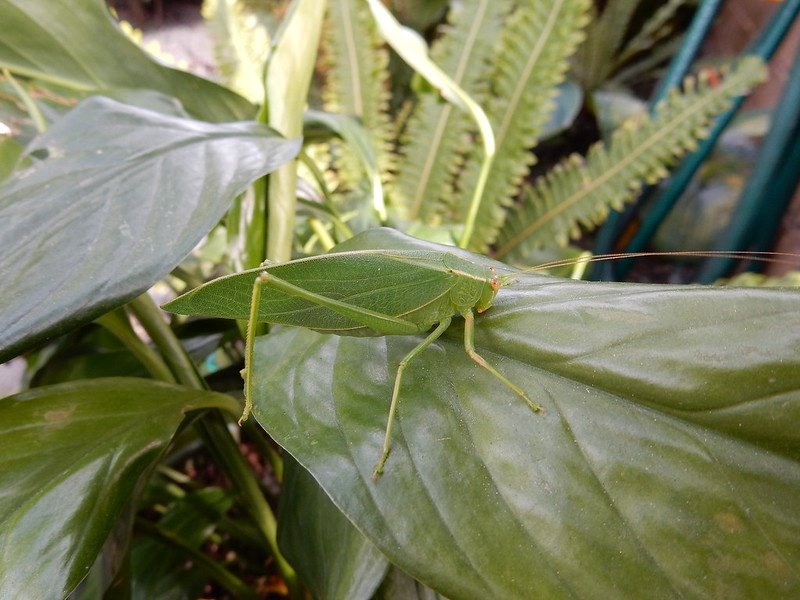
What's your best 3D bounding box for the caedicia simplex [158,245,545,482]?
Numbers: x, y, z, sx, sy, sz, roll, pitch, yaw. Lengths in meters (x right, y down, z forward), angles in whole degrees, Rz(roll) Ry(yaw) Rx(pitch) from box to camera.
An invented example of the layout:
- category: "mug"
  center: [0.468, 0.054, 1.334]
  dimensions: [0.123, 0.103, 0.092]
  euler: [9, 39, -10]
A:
- category: "caedicia simplex"
  center: [-0.091, 0.087, 1.296]
  dimensions: [0.612, 0.289, 0.290]
  euler: [6, 26, -9]
